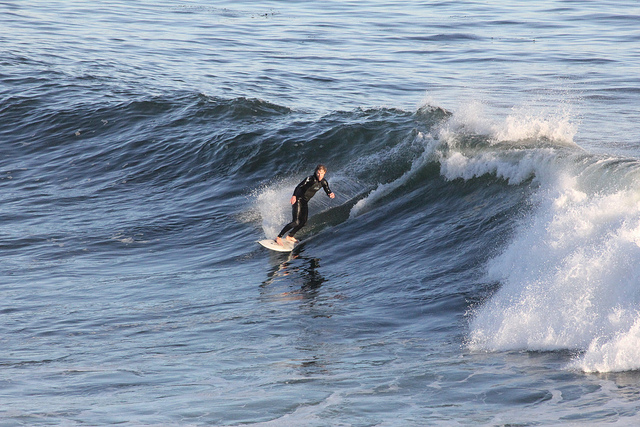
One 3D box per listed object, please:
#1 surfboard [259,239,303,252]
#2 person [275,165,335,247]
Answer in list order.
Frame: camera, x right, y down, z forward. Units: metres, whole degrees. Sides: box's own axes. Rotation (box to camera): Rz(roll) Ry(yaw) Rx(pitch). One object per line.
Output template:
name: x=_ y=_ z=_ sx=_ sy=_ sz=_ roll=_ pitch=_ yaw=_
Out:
surfboard: x=-1.080 y=0.828 z=26.420 sx=1.043 sy=0.335 sz=0.439 roll=-12 pitch=28 yaw=-28
person: x=-0.528 y=-0.220 z=26.301 sx=1.391 sy=2.224 sz=0.662 roll=-7 pitch=32 yaw=-16
